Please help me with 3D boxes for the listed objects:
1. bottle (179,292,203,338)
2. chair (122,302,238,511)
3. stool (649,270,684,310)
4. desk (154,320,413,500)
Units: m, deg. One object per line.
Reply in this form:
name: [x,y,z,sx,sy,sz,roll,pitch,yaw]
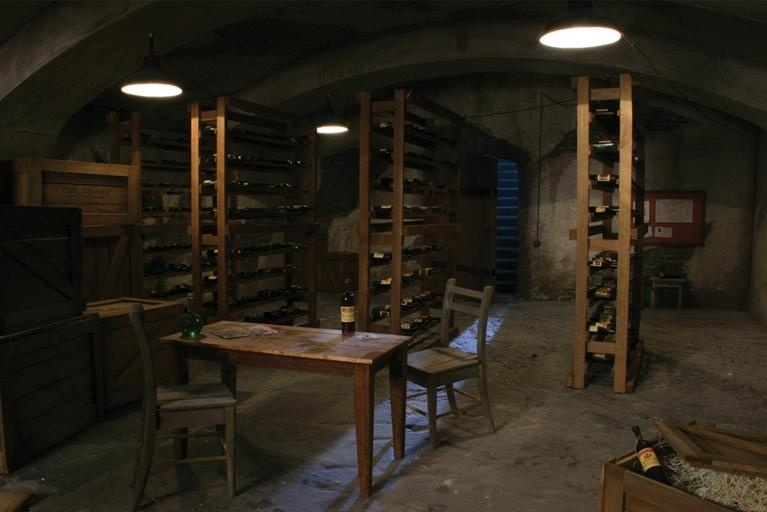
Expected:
bottle: [-1.693,0.524,4.975,0.281,0.342,0.238,0,6,-13]
chair: [-1.674,1.167,4.755,0.820,1.593,1.016,-1,2,-21]
stool: [5.301,0.676,10.473,0.670,0.484,0.561,-3,-3,29]
desk: [-0.855,1.138,4.967,2.001,0.753,0.825,3,2,22]
